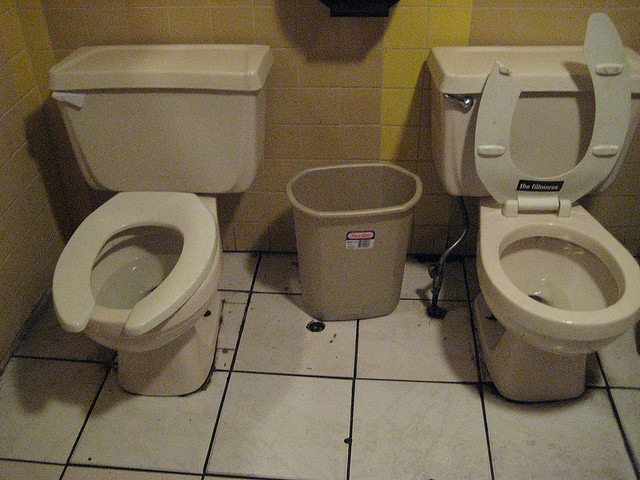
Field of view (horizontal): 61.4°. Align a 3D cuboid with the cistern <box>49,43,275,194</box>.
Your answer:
[{"bbox_3d":[-0.543,-0.405,2.126,0.759,0.505,0.498,2,41,-2],"label":"cistern"}]

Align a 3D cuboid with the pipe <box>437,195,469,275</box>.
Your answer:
[{"bbox_3d":[0.522,-0.008,2.121,0.121,0.373,0.033,-4,27,1],"label":"pipe"}]

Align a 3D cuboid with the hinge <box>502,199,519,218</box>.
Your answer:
[{"bbox_3d":[0.666,-0.110,1.882,0.061,0.064,0.043,6,35,7],"label":"hinge"}]

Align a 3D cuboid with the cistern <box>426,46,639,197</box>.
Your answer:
[{"bbox_3d":[0.692,-0.408,1.991,0.757,0.508,0.506,0,44,3],"label":"cistern"}]
